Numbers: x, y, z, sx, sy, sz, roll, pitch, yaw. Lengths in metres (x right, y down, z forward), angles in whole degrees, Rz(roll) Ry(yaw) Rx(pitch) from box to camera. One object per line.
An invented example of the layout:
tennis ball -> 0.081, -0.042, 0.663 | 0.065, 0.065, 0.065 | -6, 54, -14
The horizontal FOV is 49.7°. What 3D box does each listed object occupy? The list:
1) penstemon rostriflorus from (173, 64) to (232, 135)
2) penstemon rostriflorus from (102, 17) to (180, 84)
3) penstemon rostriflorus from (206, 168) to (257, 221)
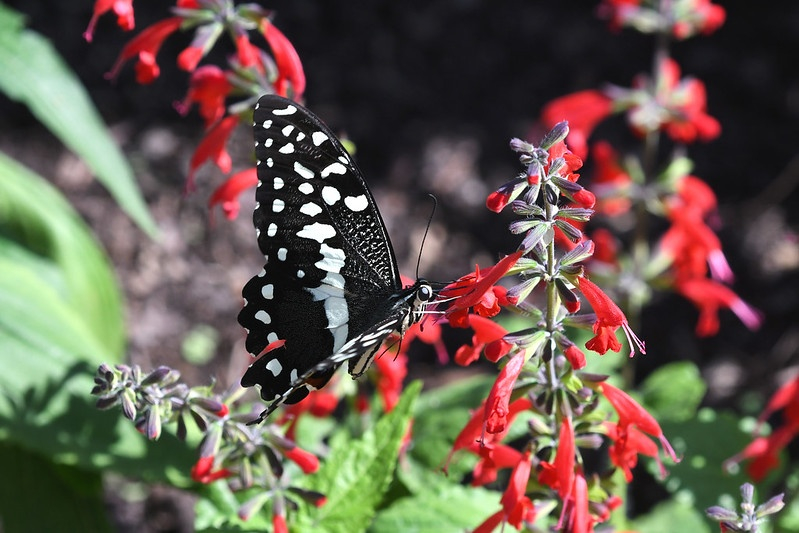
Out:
penstemon rostriflorus -> -0.549, -0.523, 2.481 | 0.117, 0.245, 0.079 | 13, 34, 29
penstemon rostriflorus -> -0.690, -0.589, 2.365 | 0.196, 0.097, 0.196 | -31, -13, -42
penstemon rostriflorus -> -0.485, -0.221, 2.479 | 0.079, 0.183, 0.124 | 8, 20, 35
